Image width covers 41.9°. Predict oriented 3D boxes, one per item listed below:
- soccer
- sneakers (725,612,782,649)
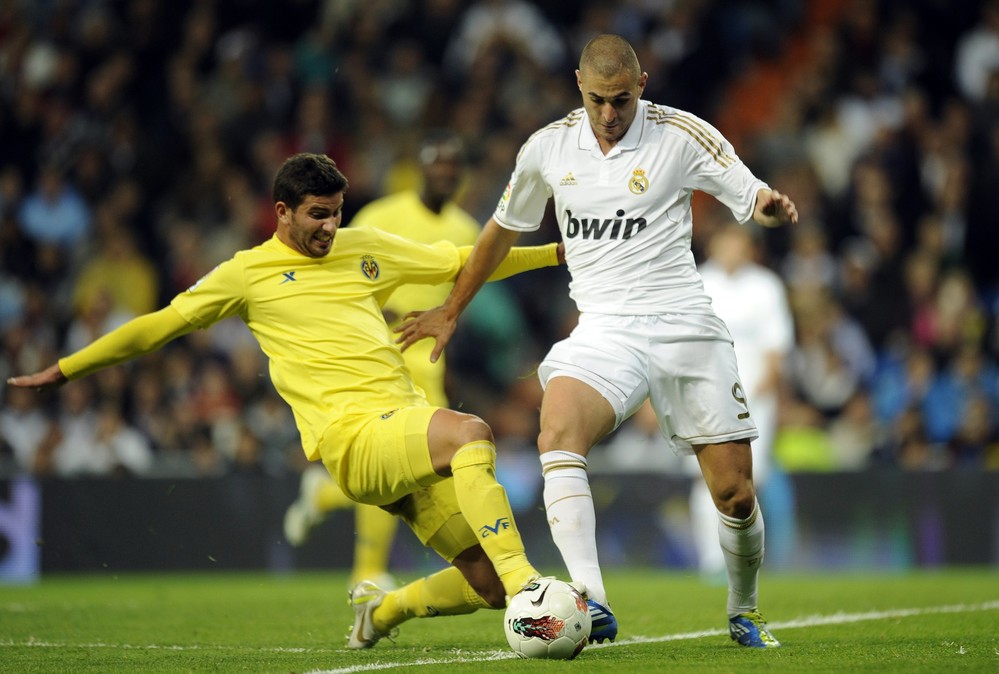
[{"bbox_3d":[0.250,1.541,7.076,0.421,0.461,0.419,-5,0,0],"label":"soccer"},{"bbox_3d":[1.489,1.734,7.762,0.131,0.193,0.363,-6,8,-43],"label":"sneakers"}]
